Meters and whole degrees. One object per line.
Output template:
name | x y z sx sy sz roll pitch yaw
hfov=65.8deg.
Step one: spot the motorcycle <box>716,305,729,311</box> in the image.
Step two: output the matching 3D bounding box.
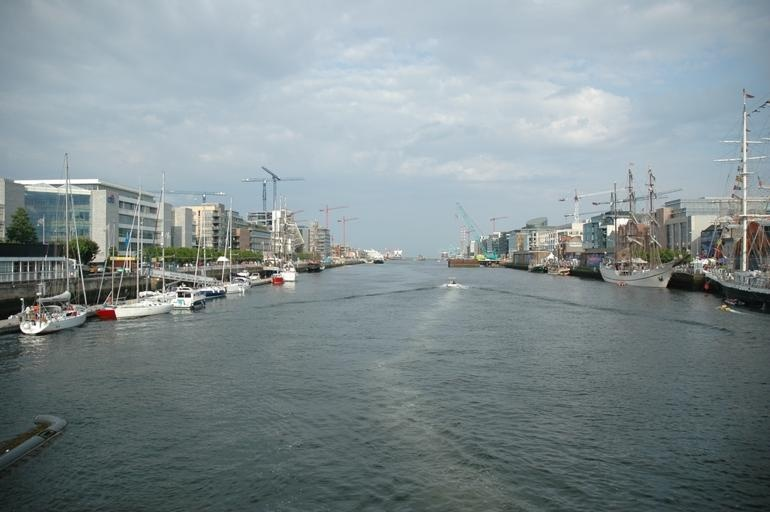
motorcycle | 47.407 7.211 82.847 1.136 0.435 0.802 -1 1 -19
